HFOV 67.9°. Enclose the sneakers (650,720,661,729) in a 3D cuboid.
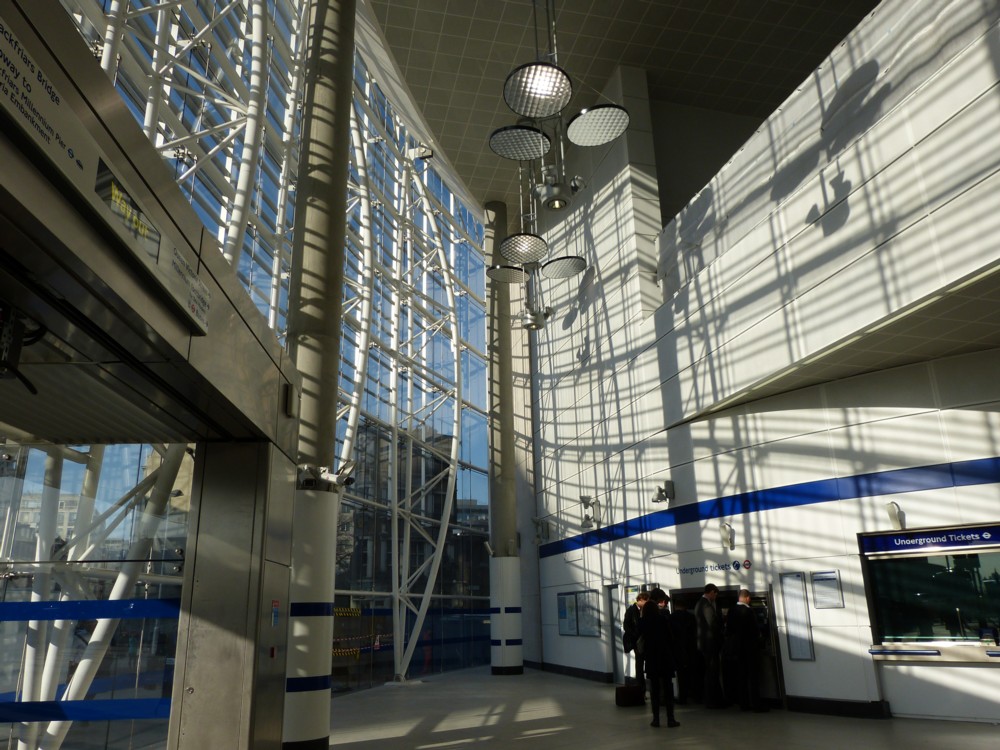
[{"bbox_3d":[2.700,6.061,12.878,0.148,0.092,0.203,-5,-24,10],"label":"sneakers"}]
